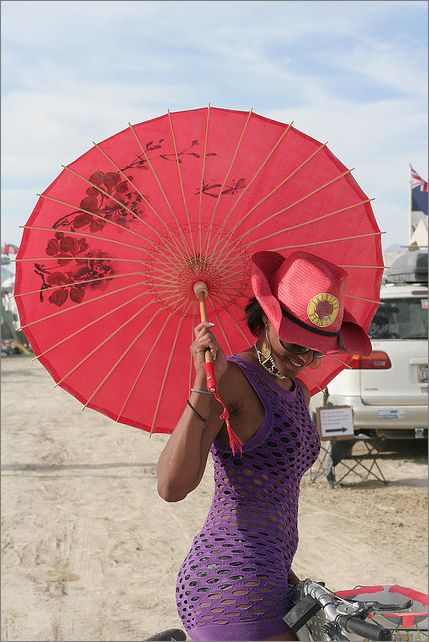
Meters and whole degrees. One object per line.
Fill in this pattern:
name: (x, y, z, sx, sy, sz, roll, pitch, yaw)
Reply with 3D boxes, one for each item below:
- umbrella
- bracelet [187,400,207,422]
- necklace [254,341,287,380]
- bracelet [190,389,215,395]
umbrella: (-0.054, -0.215, 2.900, 1.339, 1.041, 1.192, -1, 9, -6)
bracelet: (-0.040, 0.238, 1.909, 0.014, 0.060, 0.056, -46, 33, -2)
necklace: (0.164, 0.120, 2.168, 0.029, 0.106, 0.086, -33, 18, -2)
bracelet: (-0.031, 0.191, 1.911, 0.059, 0.017, 0.025, -1, 2, 4)
